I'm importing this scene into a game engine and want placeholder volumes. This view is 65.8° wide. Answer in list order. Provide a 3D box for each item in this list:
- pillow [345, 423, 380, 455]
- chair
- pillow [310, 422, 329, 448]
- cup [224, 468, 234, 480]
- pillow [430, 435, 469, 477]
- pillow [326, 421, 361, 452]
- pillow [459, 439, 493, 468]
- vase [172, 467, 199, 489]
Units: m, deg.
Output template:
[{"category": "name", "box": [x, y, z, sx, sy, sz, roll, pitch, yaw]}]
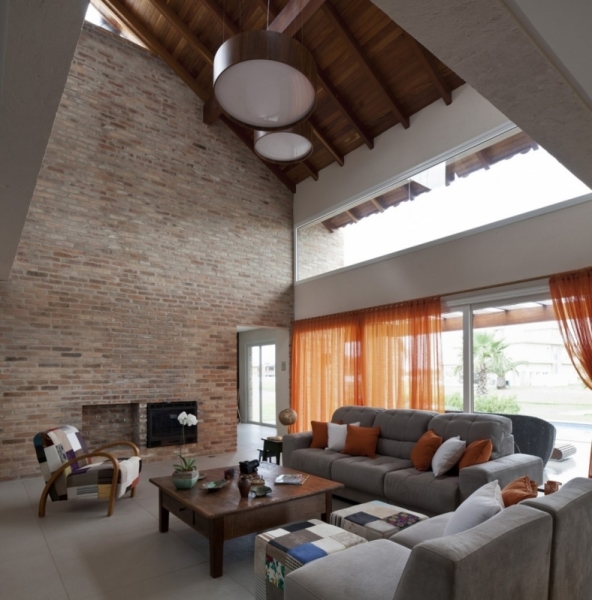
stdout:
[{"category": "pillow", "box": [0.746, 1.536, 5.078, 0.459, 0.416, 0.234, -3, -16, 27]}, {"category": "chair", "box": [-2.005, 1.625, 4.484, 0.831, 0.735, 0.759, -2, -7, 1]}, {"category": "pillow", "box": [0.275, 1.600, 5.434, 0.241, 0.255, 0.101, -4, -19, 32]}, {"category": "cup", "box": [-0.582, 1.499, 3.963, 0.075, 0.087, 0.114, -2, -7, 20]}, {"category": "pillow", "box": [1.324, 1.405, 4.163, 0.359, 0.266, 0.446, -17, -18, -15]}, {"category": "pillow", "box": [0.536, 1.546, 5.167, 0.247, 0.239, 0.095, -11, -36, 36]}, {"category": "pillow", "box": [1.500, 1.285, 3.828, 0.260, 0.251, 0.368, 0, -10, 23]}, {"category": "vase", "box": [-0.866, 1.395, 3.579, 0.159, 0.107, 0.145, 2, -5, -13]}]
